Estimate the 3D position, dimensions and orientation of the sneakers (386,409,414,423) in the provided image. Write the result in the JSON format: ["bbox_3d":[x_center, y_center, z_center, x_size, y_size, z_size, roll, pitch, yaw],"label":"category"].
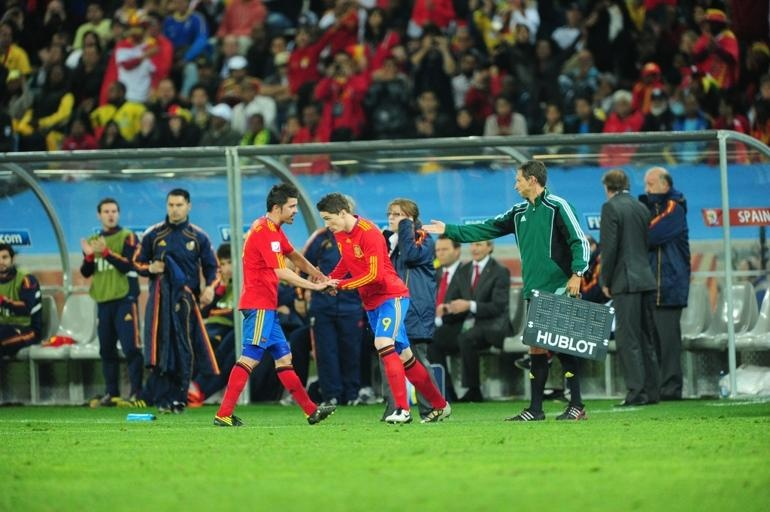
[{"bbox_3d":[0.175,2.146,18.654,0.289,0.197,0.177,0,-8,10],"label":"sneakers"}]

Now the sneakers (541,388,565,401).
[{"bbox_3d":[2.490,2.060,20.822,0.299,0.151,0.125,0,11,2],"label":"sneakers"}]

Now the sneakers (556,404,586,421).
[{"bbox_3d":[2.449,2.089,18.672,0.319,0.165,0.186,0,-6,-12],"label":"sneakers"}]

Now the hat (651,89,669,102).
[{"bbox_3d":[4.705,-2.766,24.273,0.196,0.217,0.214,1,2,15],"label":"hat"}]

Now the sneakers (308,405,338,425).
[{"bbox_3d":[-0.859,2.143,18.896,0.407,0.290,0.237,-12,16,-42],"label":"sneakers"}]

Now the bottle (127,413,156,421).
[{"bbox_3d":[-3.358,2.259,19.504,0.403,0.064,0.259,-1,12,-1],"label":"bottle"}]

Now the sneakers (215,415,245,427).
[{"bbox_3d":[-2.060,2.224,18.817,0.391,0.204,0.151,2,-2,-9],"label":"sneakers"}]

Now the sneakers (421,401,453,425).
[{"bbox_3d":[0.716,2.118,18.863,0.516,0.239,0.175,-22,24,-32],"label":"sneakers"}]
